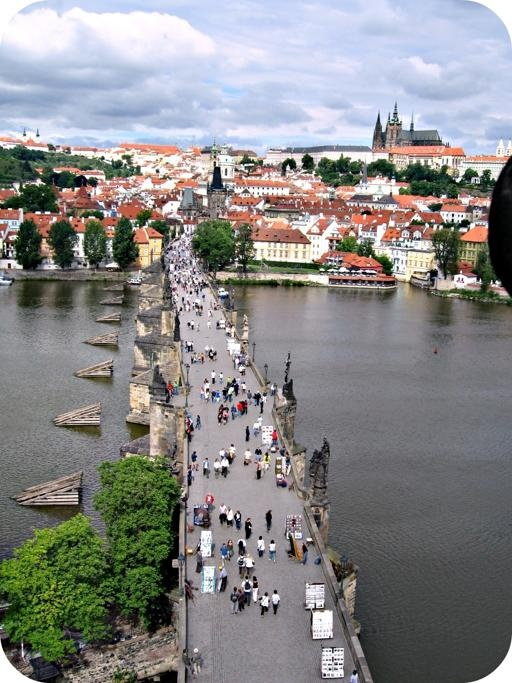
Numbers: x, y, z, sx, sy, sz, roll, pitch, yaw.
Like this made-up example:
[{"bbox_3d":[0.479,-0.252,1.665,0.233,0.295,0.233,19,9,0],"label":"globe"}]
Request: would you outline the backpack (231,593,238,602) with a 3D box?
[{"bbox_3d":[-0.370,4.565,12.348,0.110,0.209,0.190,4,13,-3],"label":"backpack"}]
